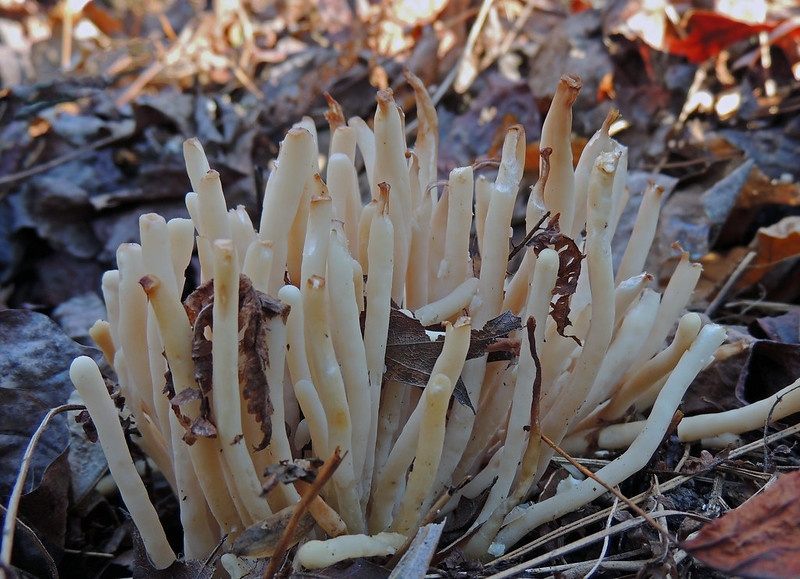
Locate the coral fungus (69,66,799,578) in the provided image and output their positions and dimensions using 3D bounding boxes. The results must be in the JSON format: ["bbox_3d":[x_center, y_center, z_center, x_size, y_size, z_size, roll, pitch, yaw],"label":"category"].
[{"bbox_3d":[0.009,0.067,1.448,1.090,0.867,0.541,-3,24,-21],"label":"coral fungus"}]
